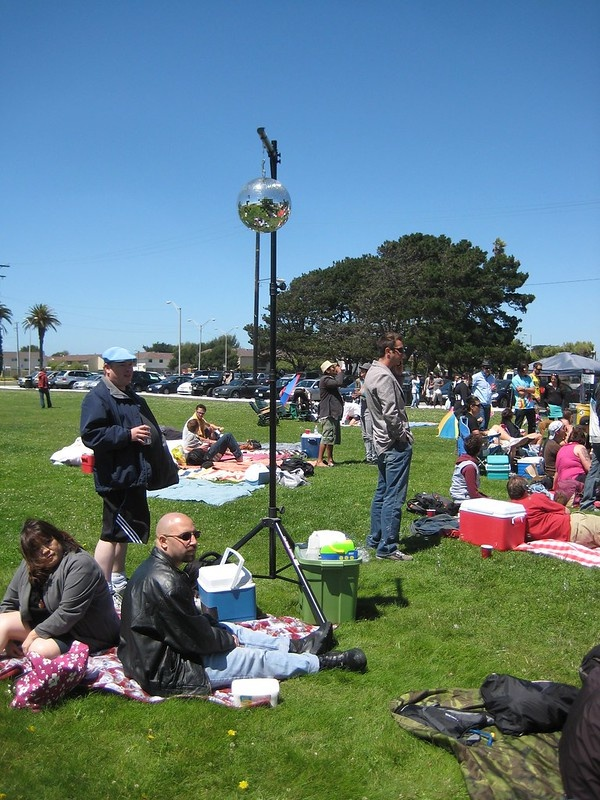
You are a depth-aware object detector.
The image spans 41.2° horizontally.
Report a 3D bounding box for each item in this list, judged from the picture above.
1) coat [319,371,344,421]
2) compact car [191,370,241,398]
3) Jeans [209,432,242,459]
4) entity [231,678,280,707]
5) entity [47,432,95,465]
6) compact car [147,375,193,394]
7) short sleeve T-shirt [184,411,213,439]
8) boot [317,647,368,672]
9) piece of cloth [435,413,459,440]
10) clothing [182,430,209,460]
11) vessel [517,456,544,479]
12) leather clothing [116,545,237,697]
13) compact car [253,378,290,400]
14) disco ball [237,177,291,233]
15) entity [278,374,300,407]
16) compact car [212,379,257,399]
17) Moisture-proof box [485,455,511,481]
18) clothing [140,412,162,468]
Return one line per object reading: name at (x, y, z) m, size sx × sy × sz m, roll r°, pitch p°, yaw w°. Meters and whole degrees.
coat at (0.465, -0.050, 12.233) m, size 0.342 × 0.734 × 0.573 m, roll 0°, pitch 5°, yaw 2°
compact car at (-4.434, -0.949, 41.509) m, size 2.081 × 0.949 × 1.324 m, roll -1°, pitch 0°, yaw -44°
Jeans at (-1.171, 0.708, 12.365) m, size 0.430 × 0.275 × 0.394 m, roll -4°, pitch 6°, yaw -16°
entity at (-0.238, 1.511, 4.142) m, size 0.171 × 0.057 × 0.142 m, roll 0°, pitch 4°, yaw -4°
entity at (-3.344, 0.708, 11.518) m, size 0.589 × 0.246 × 0.744 m, roll -3°, pitch 11°, yaw 14°
compact car at (-7.267, -0.940, 44.903) m, size 2.172 × 0.789 × 1.063 m, roll -2°, pitch 1°, yaw -42°
short sleeve T-shirt at (-1.774, 0.417, 13.942) m, size 0.327 × 0.570 × 0.256 m, roll -29°, pitch 28°, yaw -32°
boot at (0.238, 1.485, 4.567) m, size 0.224 × 0.091 × 0.126 m, roll 4°, pitch 38°, yaw 9°
piece of cloth at (3.221, 0.524, 17.329) m, size 0.597 × 0.590 × 0.592 m, roll 2°, pitch -2°, yaw 14°
clothing at (-1.601, 0.686, 12.184) m, size 0.353 × 0.553 × 0.596 m, roll -5°, pitch 6°, yaw -5°
vessel at (3.238, 0.920, 11.229) m, size 0.575 × 0.349 × 0.568 m, roll -2°, pitch -2°, yaw 10°
leather clothing at (-0.697, 1.163, 4.360) m, size 0.761 × 0.623 × 0.491 m, roll -5°, pitch 5°, yaw -39°
compact car at (-1.008, -0.466, 31.647) m, size 1.963 × 0.664 × 0.875 m, roll 1°, pitch 2°, yaw 4°
disco ball at (-0.248, -1.332, 5.437) m, size 0.384 × 0.417 × 0.374 m, roll -2°, pitch 16°, yaw 1°
entity at (-0.319, -0.330, 22.159) m, size 0.603 × 0.846 × 1.913 m, roll -1°, pitch 5°, yaw -2°
compact car at (-2.982, -0.526, 35.962) m, size 2.686 × 0.897 × 1.190 m, roll 0°, pitch -1°, yaw -36°
Moisture-proof box at (2.766, 0.929, 11.181) m, size 0.351 × 0.327 × 0.321 m, roll -1°, pitch -3°, yaw 3°
clothing at (-0.982, 0.273, 5.328) m, size 0.221 × 0.297 × 0.304 m, roll 2°, pitch -8°, yaw -12°
